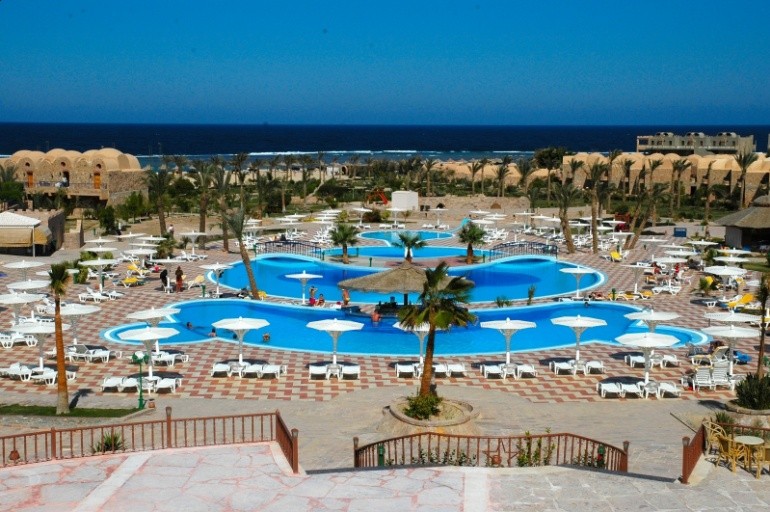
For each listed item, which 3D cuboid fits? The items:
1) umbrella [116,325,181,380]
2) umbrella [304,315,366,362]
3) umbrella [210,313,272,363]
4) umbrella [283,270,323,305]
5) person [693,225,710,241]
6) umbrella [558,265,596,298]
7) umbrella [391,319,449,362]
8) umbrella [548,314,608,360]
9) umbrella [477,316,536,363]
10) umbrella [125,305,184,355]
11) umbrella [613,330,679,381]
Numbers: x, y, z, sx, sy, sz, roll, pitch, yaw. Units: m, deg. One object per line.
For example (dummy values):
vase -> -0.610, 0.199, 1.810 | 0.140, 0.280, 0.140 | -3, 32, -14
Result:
umbrella -> -8.162, 3.394, 27.629 | 2.014, 1.530, 1.974 | -4, 7, -42
umbrella -> -1.833, 3.049, 29.123 | 1.913, 1.415, 1.749 | 0, 0, -3
umbrella -> -5.442, 3.118, 29.391 | 2.503, 1.893, 2.203 | -5, -1, -23
umbrella -> -4.049, 1.519, 38.302 | 1.937, 1.793, 1.786 | 0, 1, -1
person -> 21.357, -1.508, 53.548 | 1.444, 0.749, 1.338 | -1, 3, 5
umbrella -> 9.266, 1.389, 38.492 | 2.013, 1.208, 1.868 | 0, 5, 9
umbrella -> 1.210, 3.111, 28.708 | 1.902, 1.398, 1.727 | 0, 1, 1
umbrella -> 7.054, 3.088, 29.221 | 2.123, 1.752, 2.060 | 1, -2, 31
umbrella -> 4.512, 3.171, 29.361 | 2.013, 1.491, 1.854 | -1, 2, -1
umbrella -> -8.860, 2.880, 29.381 | 2.183, 1.955, 2.060 | -1, 4, -1
umbrella -> 8.935, 3.514, 27.093 | 2.058, 1.537, 1.883 | -4, 8, -10
